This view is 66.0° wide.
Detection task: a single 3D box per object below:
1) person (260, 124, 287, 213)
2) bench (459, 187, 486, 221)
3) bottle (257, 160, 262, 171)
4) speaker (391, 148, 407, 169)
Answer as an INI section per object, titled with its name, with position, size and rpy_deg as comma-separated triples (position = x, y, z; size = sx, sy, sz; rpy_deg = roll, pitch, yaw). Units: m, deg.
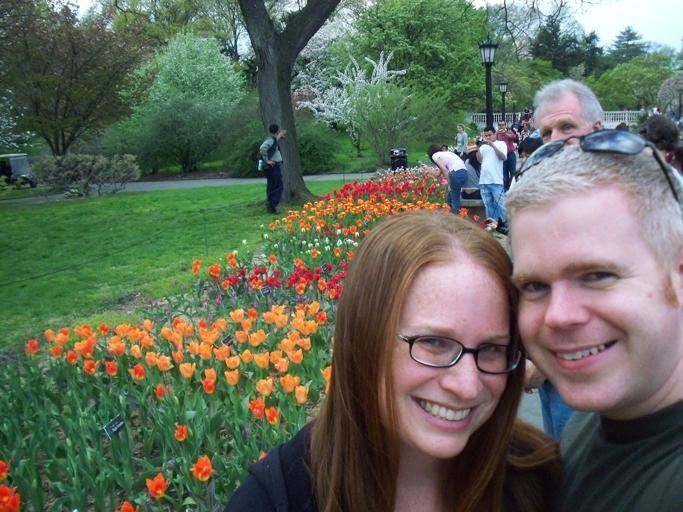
[person]
position = -1.743, -2.257, 13.171
size = 0.589, 2.107, 1.441
rpy_deg = -3, 12, 5
[bench]
position = 2.850, -1.214, 11.349
size = 0.424, 0.626, 0.873
rpy_deg = -4, 31, 5
[bottle]
position = -1.965, -2.240, 12.789
size = 0.111, 0.239, 0.687
rpy_deg = -6, 13, -6
[speaker]
position = 2.176, -3.686, 19.784
size = 0.581, 0.761, 1.490
rpy_deg = -3, 13, 5
